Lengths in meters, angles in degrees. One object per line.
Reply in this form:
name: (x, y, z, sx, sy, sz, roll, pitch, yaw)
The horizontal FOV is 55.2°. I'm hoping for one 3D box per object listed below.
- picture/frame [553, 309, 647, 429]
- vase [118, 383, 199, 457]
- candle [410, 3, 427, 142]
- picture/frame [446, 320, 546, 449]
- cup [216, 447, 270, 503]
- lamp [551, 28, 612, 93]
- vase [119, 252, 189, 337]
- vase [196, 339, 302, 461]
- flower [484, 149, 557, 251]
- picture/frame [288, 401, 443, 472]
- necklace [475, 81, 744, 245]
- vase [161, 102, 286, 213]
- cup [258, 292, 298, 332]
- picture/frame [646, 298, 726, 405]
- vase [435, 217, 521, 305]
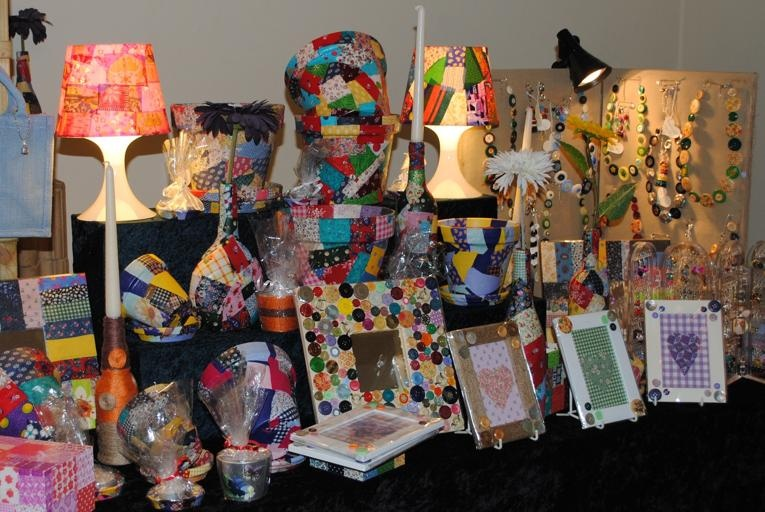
picture/frame: (0.641, 0.332, 2.184, 0.247, 0.351, 0.087, -11, -4, -16)
vase: (-0.597, 0.417, 1.926, 0.228, 0.172, 0.198, 1, -7, -8)
candle: (0.102, -0.559, 2.254, 0.049, 0.418, 0.114, -2, 6, 8)
picture/frame: (0.316, 0.380, 2.095, 0.252, 0.364, 0.192, -15, 2, -22)
cup: (-0.351, 0.551, 1.835, 0.122, 0.110, 0.123, 0, 1, 0)
lamp: (0.791, -0.802, 2.969, 0.091, 0.256, 0.295, -5, 6, -21)
vase: (-0.663, 0.123, 2.090, 0.224, 0.250, 0.101, -2, 6, 9)
vase: (-0.354, 0.392, 1.989, 0.248, 0.266, 0.271, -5, 5, -3)
flower: (0.470, -0.203, 2.550, 0.235, 0.292, 0.242, -22, 40, -23)
picture/frame: (-0.020, 0.474, 1.938, 0.450, 0.112, 0.161, -6, 7, -28)
necklace: (0.896, -0.381, 2.871, 0.622, 0.612, 0.239, 2, 4, 6)
vase: (-0.522, -0.298, 2.341, 0.372, 0.315, 0.343, 0, 8, -7)
cup: (-0.300, 0.151, 2.129, 0.108, 0.085, 0.111, -2, 5, 0)
picture/frame: (0.941, 0.310, 2.274, 0.298, 0.402, 0.039, 0, -8, -1)
vase: (0.307, 0.010, 2.358, 0.244, 0.250, 0.255, 3, 9, 10)
